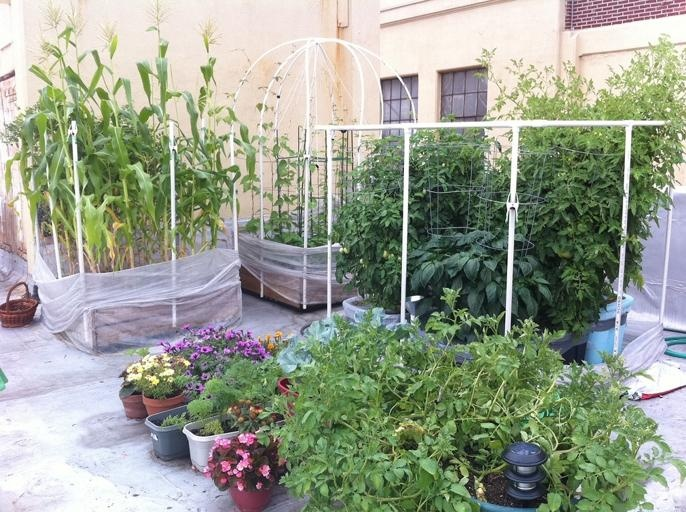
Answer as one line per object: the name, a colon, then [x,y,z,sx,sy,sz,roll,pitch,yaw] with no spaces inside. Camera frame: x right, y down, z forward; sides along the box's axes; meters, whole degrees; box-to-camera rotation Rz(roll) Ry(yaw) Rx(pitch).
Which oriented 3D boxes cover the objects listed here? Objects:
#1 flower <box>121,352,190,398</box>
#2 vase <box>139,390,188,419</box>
flower: [-1.193,0.772,3.590,0.334,0.212,0.323,12,25,23]
vase: [-1.159,0.952,3.629,0.176,0.119,0.181,0,-2,1]
